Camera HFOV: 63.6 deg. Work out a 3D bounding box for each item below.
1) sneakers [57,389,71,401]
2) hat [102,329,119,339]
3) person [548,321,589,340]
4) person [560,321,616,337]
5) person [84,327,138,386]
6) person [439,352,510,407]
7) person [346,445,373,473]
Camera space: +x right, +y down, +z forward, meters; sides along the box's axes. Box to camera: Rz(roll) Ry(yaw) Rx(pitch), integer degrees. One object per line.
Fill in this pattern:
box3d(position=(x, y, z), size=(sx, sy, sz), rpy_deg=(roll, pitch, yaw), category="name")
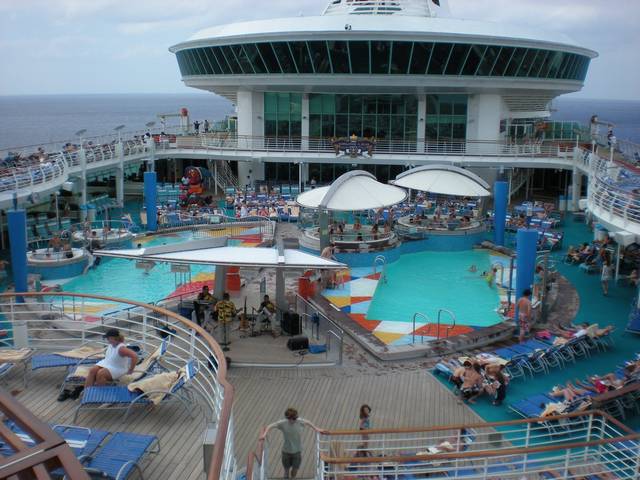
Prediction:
box3d(position=(-3.942, 2.399, 7.940), size=(0.097, 0.088, 0.224), rpy_deg=(0, 4, 0), category="sneakers")
box3d(position=(-3.073, 1.355, 7.582), size=(0.191, 0.137, 0.163), rpy_deg=(25, 24, 36), category="hat")
box3d(position=(6.853, 2.491, 14.085), size=(0.622, 0.241, 0.808), rpy_deg=(-9, 7, -26), category="person")
box3d(position=(7.194, 2.453, 13.902), size=(0.948, 0.256, 0.849), rpy_deg=(-3, 0, -9), category="person")
box3d(position=(-3.136, 1.720, 7.630), size=(0.727, 0.894, 0.427), rpy_deg=(-10, 18, -25), category="person")
box3d(position=(3.472, 3.001, 11.385), size=(1.040, 0.337, 1.230), rpy_deg=(-1, 11, -1), category="person")
box3d(position=(0.583, 3.272, 7.619), size=(0.314, 0.313, 0.853), rpy_deg=(-1, -1, 4), category="person")
